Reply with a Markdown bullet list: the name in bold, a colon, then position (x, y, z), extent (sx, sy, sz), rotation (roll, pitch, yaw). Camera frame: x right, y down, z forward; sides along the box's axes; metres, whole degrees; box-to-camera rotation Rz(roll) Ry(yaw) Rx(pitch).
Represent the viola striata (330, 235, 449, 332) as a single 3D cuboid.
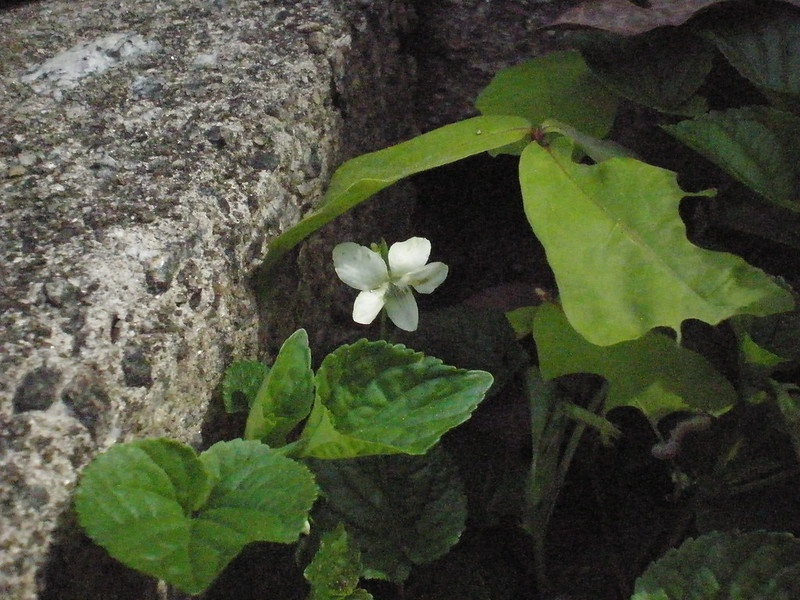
- **viola striata**: position (-0.013, -0.027, 1.909), extent (0.083, 0.158, 0.160), rotation (-12, -7, 29)
